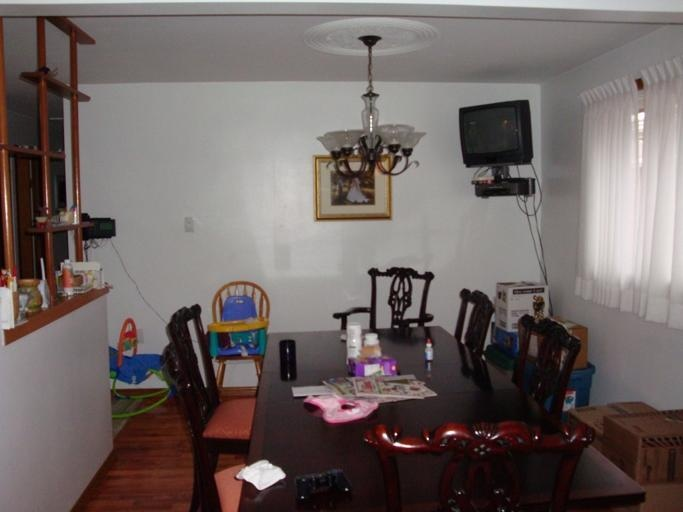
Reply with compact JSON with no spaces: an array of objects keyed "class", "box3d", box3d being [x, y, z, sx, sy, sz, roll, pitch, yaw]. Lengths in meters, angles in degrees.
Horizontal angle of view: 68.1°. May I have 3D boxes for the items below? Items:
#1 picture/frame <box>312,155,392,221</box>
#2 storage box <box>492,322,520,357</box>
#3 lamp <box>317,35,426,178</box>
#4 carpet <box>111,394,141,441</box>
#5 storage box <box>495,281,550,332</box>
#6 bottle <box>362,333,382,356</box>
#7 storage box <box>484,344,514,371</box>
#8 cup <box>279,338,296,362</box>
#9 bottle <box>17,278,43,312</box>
[{"class":"picture/frame","box3d":[0.062,-0.599,4.445,0.548,0.464,0.023,0,0,-5]},{"class":"storage box","box3d":[1.401,0.712,4.321,0.186,0.151,0.293,1,1,-5]},{"class":"lamp","box3d":[0.194,-1.194,3.920,0.975,1.210,0.842,-1,3,-3]},{"class":"carpet","box3d":[-1.833,1.343,4.306,0.225,0.043,0.732,-5,12,-24]},{"class":"storage box","box3d":[1.587,0.366,4.482,0.448,0.493,0.474,0,6,-10]},{"class":"bottle","box3d":[0.161,0.506,2.879,0.107,0.128,0.110,6,10,36]},{"class":"storage box","box3d":[1.181,0.761,3.762,0.080,0.077,0.305,-4,5,-5]},{"class":"cup","box3d":[-0.310,0.518,2.758,0.097,0.121,0.099,-1,-9,0]},{"class":"bottle","box3d":[-1.674,0.221,2.755,0.148,0.160,0.151,1,-5,-30]}]
